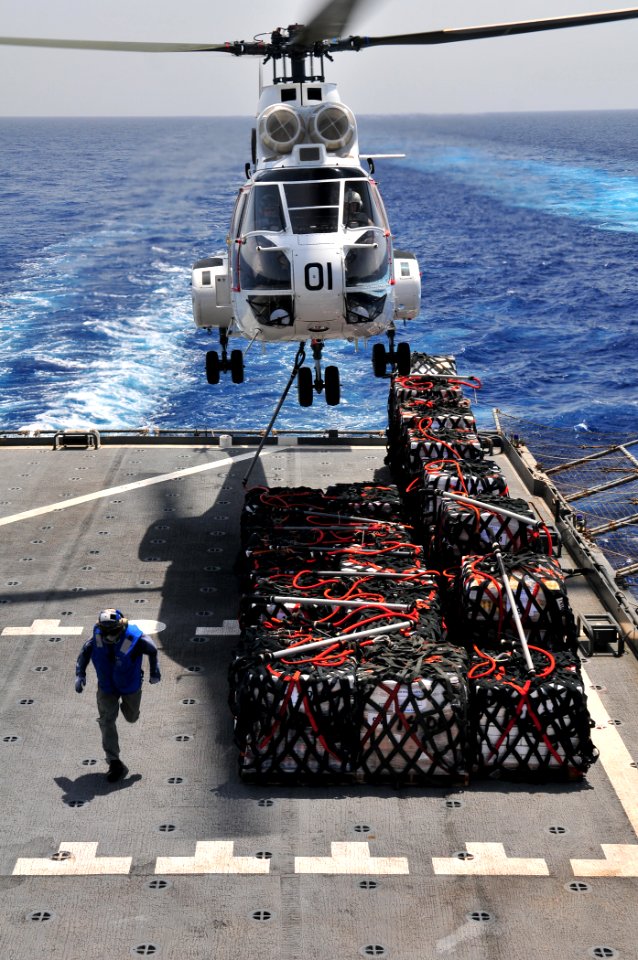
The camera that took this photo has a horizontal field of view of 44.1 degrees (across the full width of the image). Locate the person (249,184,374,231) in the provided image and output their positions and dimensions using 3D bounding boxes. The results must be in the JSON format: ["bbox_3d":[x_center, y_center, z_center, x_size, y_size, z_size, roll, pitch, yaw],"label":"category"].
[{"bbox_3d":[-0.091,-4.413,12.774,1.992,0.930,1.322,0,12,-5],"label":"person"}]

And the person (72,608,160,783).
[{"bbox_3d":[-2.108,2.202,8.245,0.831,1.762,0.517,-3,12,-17],"label":"person"}]

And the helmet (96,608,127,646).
[{"bbox_3d":[-2.111,1.498,8.087,0.273,0.326,0.333,-1,15,-4],"label":"helmet"}]

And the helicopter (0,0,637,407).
[{"bbox_3d":[0.142,-4.728,15.604,7.172,5.375,9.132,0,21,-1],"label":"helicopter"}]

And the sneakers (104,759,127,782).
[{"bbox_3d":[-2.100,3.017,8.199,0.166,0.244,0.249,0,-2,-7],"label":"sneakers"}]
